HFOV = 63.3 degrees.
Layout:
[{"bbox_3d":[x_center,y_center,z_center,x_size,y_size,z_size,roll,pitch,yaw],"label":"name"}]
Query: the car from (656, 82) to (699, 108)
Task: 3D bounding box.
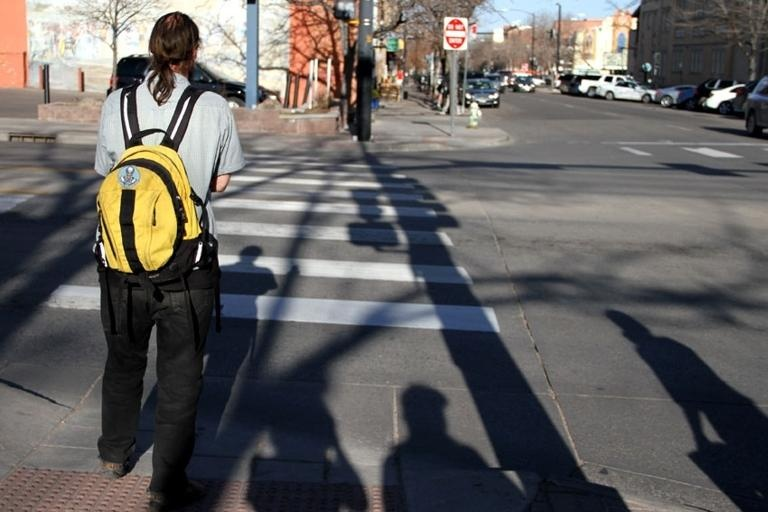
[{"bbox_3d":[20.274,-11.206,43.596,0.876,1.537,3.591,-2,19,-10],"label":"car"}]
